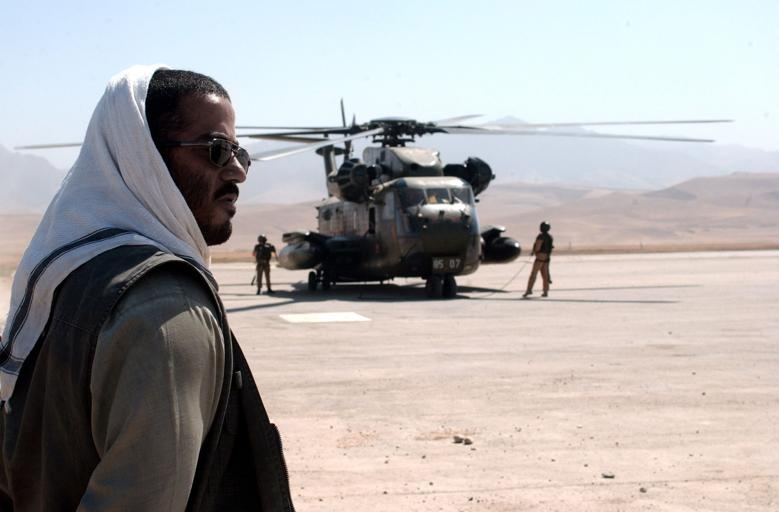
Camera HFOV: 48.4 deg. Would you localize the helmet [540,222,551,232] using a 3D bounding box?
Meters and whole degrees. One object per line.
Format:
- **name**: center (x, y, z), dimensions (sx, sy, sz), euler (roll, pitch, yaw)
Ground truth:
- **helmet**: center (3.201, -0.596, 17.757), dimensions (0.193, 0.218, 0.234), euler (-2, -10, -11)
